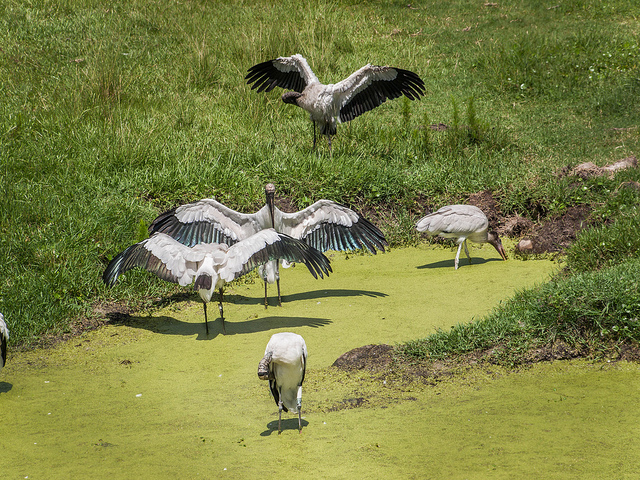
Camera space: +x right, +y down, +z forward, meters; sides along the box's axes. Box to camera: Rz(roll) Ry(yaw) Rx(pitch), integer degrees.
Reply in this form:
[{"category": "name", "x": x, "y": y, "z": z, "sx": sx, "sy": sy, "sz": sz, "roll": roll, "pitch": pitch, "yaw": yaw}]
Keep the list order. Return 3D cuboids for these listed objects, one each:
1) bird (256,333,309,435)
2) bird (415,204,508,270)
[{"category": "bird", "x": -0.508, "y": 1.939, "z": 14.187, "sx": 0.647, "sy": 1.282, "sz": 0.393, "roll": -3, "pitch": 11, "yaw": -3}, {"category": "bird", "x": 2.378, "y": -0.119, "z": 17.721, "sx": 1.437, "sy": 0.969, "sz": 0.461, "roll": -6, "pitch": 11, "yaw": -19}]
